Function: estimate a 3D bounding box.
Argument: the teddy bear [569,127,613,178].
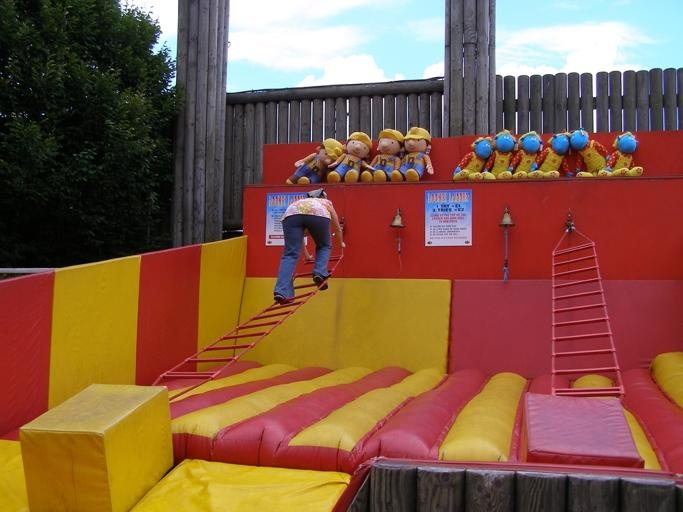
[{"bbox_3d":[3.020,-1.269,8.756,0.413,0.700,0.412,-20,2,17],"label":"teddy bear"}]

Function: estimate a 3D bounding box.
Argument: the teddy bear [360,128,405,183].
[{"bbox_3d":[0.549,-1.308,9.307,0.395,0.802,0.567,14,10,39],"label":"teddy bear"}]

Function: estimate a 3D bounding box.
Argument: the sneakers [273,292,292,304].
[{"bbox_3d":[-0.631,0.457,7.581,0.080,0.115,0.228,-1,-3,17],"label":"sneakers"}]

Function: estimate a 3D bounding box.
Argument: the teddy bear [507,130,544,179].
[{"bbox_3d":[2.318,-1.242,8.813,0.344,0.640,0.356,9,5,-44],"label":"teddy bear"}]

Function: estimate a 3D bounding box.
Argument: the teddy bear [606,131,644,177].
[{"bbox_3d":[3.487,-1.254,8.782,0.359,0.597,0.398,9,11,9],"label":"teddy bear"}]

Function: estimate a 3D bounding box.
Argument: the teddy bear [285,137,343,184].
[{"bbox_3d":[-0.364,-1.252,9.543,0.696,0.425,0.355,-47,20,-11],"label":"teddy bear"}]

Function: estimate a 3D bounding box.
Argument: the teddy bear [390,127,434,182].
[{"bbox_3d":[0.935,-1.291,9.257,0.518,0.843,0.615,2,-1,27],"label":"teddy bear"}]

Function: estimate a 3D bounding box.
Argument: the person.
[{"bbox_3d":[-0.373,-0.117,7.846,0.590,1.262,1.032,1,2,35],"label":"person"}]

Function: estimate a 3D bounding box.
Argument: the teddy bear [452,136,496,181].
[{"bbox_3d":[1.698,-1.227,8.952,0.363,0.636,0.384,14,16,-4],"label":"teddy bear"}]

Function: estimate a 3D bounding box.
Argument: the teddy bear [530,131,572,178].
[{"bbox_3d":[2.551,-1.233,8.743,0.353,0.576,0.594,1,2,39],"label":"teddy bear"}]

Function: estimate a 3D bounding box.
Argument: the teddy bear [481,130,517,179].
[{"bbox_3d":[1.987,-1.253,8.862,0.401,0.651,0.418,1,13,-34],"label":"teddy bear"}]

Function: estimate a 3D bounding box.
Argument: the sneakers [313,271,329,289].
[{"bbox_3d":[-0.218,0.273,7.817,0.165,0.196,0.466,0,1,1],"label":"sneakers"}]
